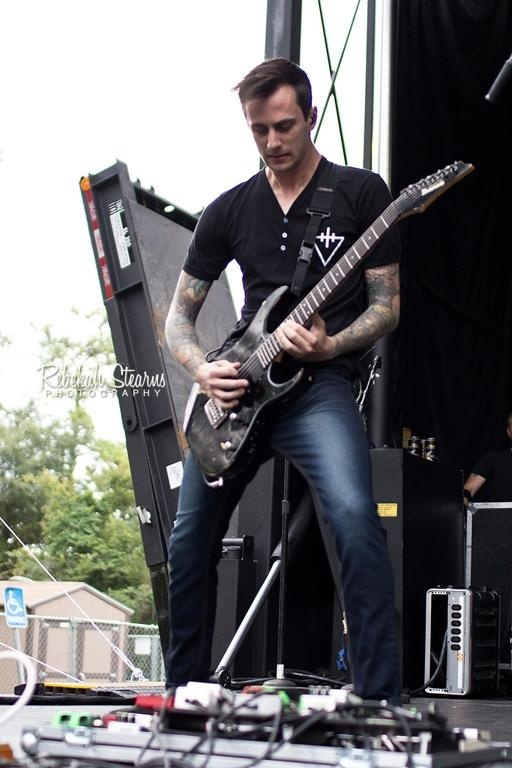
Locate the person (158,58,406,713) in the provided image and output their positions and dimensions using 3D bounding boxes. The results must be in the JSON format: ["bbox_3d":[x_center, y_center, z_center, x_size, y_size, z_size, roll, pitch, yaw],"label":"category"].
[{"bbox_3d":[0.060,-0.056,1.940,0.661,1.440,0.339,-13,-16,42],"label":"person"}]
